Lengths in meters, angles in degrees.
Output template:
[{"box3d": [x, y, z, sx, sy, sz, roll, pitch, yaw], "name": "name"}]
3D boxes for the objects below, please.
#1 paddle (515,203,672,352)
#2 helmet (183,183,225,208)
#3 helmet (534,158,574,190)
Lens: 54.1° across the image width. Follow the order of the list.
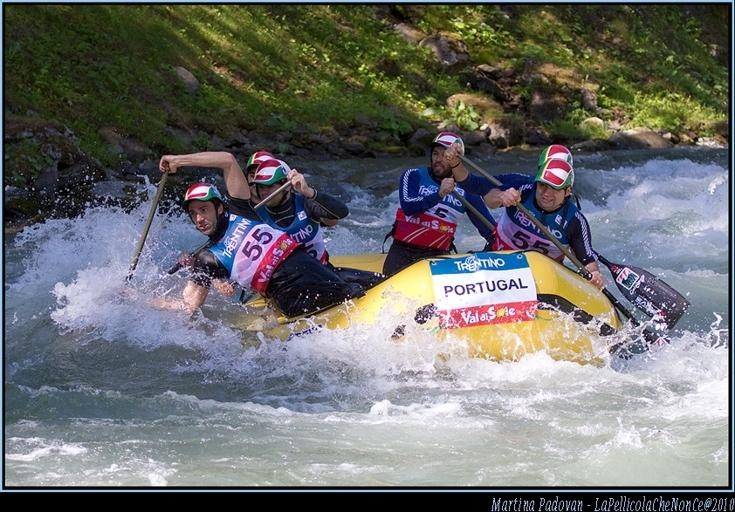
[{"box3d": [2.693, 0.285, 8.623, 2.659, 0.494, 0.199, 46, -3, 12], "name": "paddle"}, {"box3d": [-1.677, -0.697, 7.518, 0.268, 0.172, 0.365, -13, -18, 22], "name": "helmet"}, {"box3d": [2.048, -0.926, 7.889, 0.281, 0.212, 0.407, 18, 12, 24], "name": "helmet"}]
